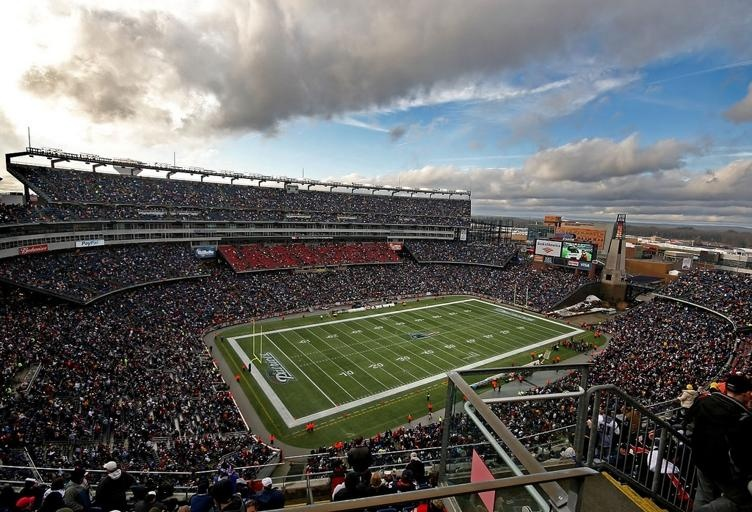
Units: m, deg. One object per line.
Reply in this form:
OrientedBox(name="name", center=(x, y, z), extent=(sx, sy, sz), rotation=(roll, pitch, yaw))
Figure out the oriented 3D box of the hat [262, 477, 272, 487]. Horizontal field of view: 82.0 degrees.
OrientedBox(name="hat", center=(-3.210, 6.544, 12.555), extent=(0.252, 0.191, 0.348), rotation=(1, -5, -41))
